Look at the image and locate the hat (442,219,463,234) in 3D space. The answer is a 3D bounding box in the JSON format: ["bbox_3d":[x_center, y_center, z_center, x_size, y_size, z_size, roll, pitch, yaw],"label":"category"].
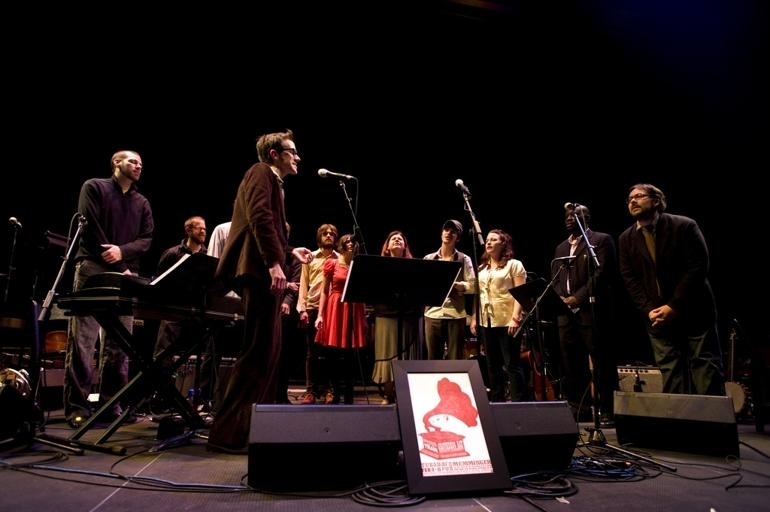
[{"bbox_3d":[0.865,-0.372,7.514,0.175,0.131,0.255,9,-31,20],"label":"hat"}]

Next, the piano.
[{"bbox_3d":[-2.334,0.374,6.415,0.861,0.303,1.600,7,1,-13],"label":"piano"}]

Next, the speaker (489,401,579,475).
[{"bbox_3d":[1.303,1.543,5.498,0.790,0.527,0.607,0,-5,-6],"label":"speaker"}]

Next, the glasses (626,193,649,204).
[{"bbox_3d":[2.714,-0.633,6.489,0.217,0.120,0.090,6,10,29],"label":"glasses"}]
